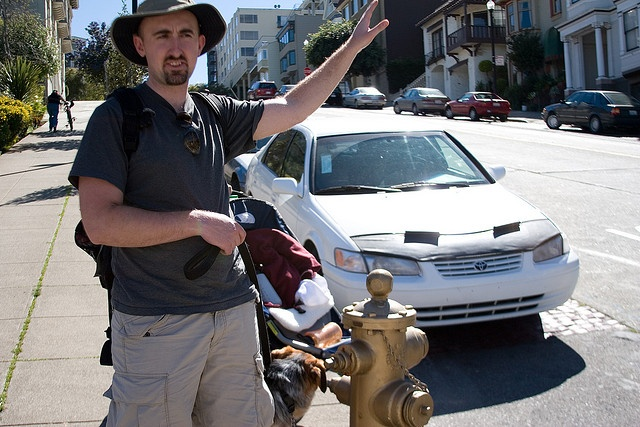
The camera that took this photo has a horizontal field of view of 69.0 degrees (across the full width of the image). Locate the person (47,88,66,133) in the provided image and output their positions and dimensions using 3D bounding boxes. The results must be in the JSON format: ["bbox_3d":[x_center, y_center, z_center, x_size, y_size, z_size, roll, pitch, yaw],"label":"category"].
[{"bbox_3d":[-11.481,-4.431,20.101,0.627,1.607,2.807,-8,16,-28],"label":"person"}]

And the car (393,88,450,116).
[{"bbox_3d":[6.816,-7.485,31.439,1.691,1.712,3.913,-11,18,-34],"label":"car"}]

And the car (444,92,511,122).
[{"bbox_3d":[9.055,-6.145,26.983,1.441,1.571,3.725,-9,17,-31],"label":"car"}]

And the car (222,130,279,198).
[{"bbox_3d":[-1.290,-0.903,8.363,0.764,0.687,1.650,-3,9,-21],"label":"car"}]
